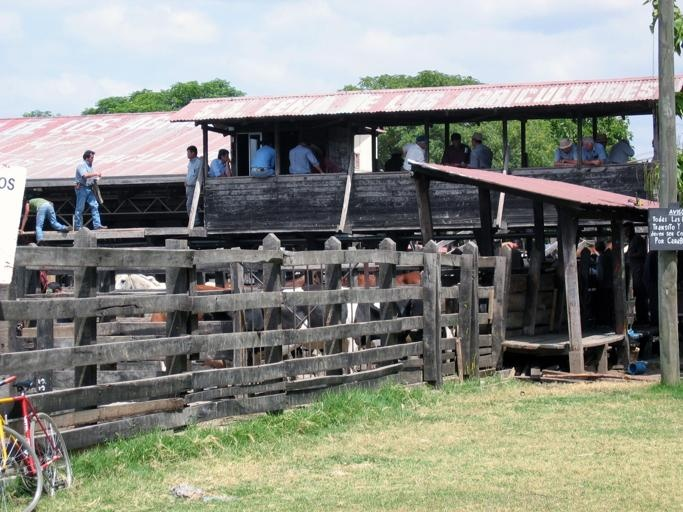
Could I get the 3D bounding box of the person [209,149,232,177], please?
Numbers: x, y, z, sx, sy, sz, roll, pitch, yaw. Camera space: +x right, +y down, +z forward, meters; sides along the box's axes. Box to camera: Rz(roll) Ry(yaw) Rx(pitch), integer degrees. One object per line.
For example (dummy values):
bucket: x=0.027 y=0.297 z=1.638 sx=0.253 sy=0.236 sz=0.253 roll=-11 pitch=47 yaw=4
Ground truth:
person: x=-3.097 y=-2.358 z=35.804 sx=0.573 sy=0.788 sz=0.514 roll=-2 pitch=9 yaw=-7

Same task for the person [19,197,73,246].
person: x=-7.302 y=-0.888 z=34.139 sx=1.569 sy=0.986 sz=0.629 roll=14 pitch=10 yaw=41

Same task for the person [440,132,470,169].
person: x=2.783 y=-2.592 z=34.035 sx=0.657 sy=0.801 sz=0.881 roll=2 pitch=12 yaw=-1

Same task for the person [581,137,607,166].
person: x=5.986 y=-2.401 z=33.200 sx=0.631 sy=0.816 sz=0.551 roll=5 pitch=-10 yaw=-40

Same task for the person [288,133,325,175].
person: x=-0.863 y=-2.540 z=35.333 sx=0.786 sy=1.824 sz=0.523 roll=4 pitch=11 yaw=31

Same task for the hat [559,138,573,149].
hat: x=5.338 y=-2.670 z=33.467 sx=0.281 sy=0.294 sz=0.478 roll=5 pitch=13 yaw=8

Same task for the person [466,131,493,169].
person: x=3.330 y=-2.520 z=33.955 sx=0.496 sy=0.936 sz=0.993 roll=0 pitch=11 yaw=32

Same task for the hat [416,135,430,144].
hat: x=1.958 y=-2.827 z=34.137 sx=0.241 sy=0.232 sz=0.200 roll=-7 pitch=5 yaw=2
